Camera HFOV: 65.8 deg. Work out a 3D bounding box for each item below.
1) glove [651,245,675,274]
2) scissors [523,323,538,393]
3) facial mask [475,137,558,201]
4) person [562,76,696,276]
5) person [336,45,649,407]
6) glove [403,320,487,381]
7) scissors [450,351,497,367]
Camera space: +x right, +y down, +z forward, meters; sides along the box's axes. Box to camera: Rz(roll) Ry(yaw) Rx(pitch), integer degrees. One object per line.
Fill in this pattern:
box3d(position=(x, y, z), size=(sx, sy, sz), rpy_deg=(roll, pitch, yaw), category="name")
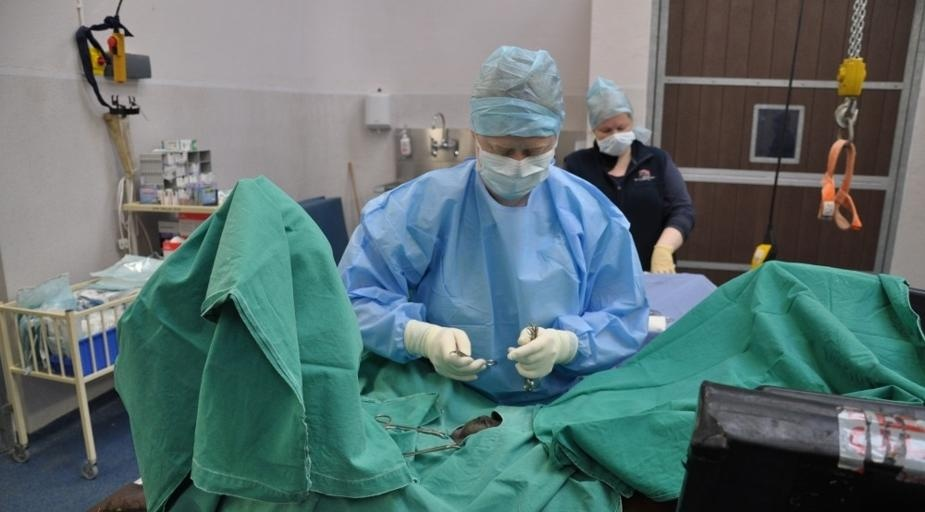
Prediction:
box3d(position=(1.213, 0.025, 4.355), size=(0.137, 0.156, 0.254), rpy_deg=(2, 16, 15), category="glove")
box3d(position=(0.311, 0.475, 3.270), size=(0.076, 0.231, 0.167), rpy_deg=(4, -19, 5), category="scissors")
box3d(position=(0.249, -0.405, 3.407), size=(0.377, 0.318, 0.158), rpy_deg=(-2, 16, 0), category="facial mask")
box3d(position=(1.132, -0.492, 4.609), size=(0.573, 1.461, 0.639), rpy_deg=(4, 12, 21), category="person")
box3d(position=(0.165, -0.131, 3.334), size=(1.427, 1.632, 0.582), rpy_deg=(-5, 16, -10), category="person")
box3d(position=(-0.086, 0.452, 3.283), size=(0.369, 0.302, 0.176), rpy_deg=(-3, 16, -4), category="glove")
box3d(position=(0.039, 0.471, 3.256), size=(0.235, 0.049, 0.039), rpy_deg=(11, 3, -16), category="scissors")
